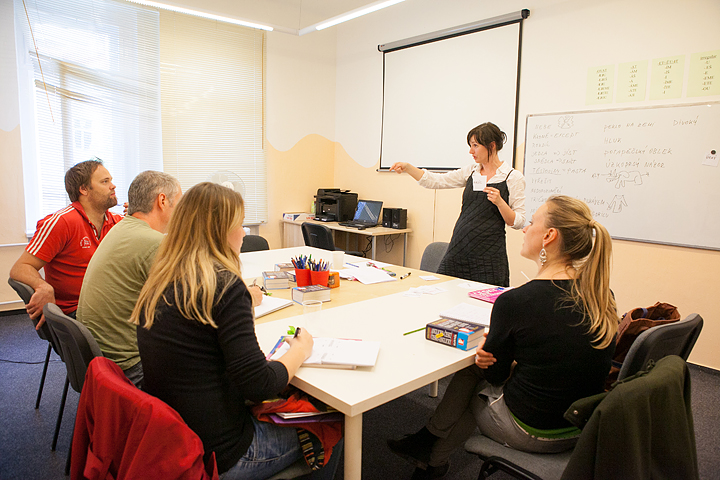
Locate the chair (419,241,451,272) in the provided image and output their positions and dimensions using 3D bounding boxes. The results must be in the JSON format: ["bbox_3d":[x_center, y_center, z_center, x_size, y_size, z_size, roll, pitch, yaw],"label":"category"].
[{"bbox_3d":[0.618,0.128,4.065,0.220,0.287,0.249,6,9,32],"label":"chair"}]

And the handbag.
[{"bbox_3d":[1.463,0.476,2.440,0.284,0.347,0.188,4,31,-16],"label":"handbag"}]

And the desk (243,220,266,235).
[{"bbox_3d":[-1.293,-0.158,5.774,0.283,0.266,0.283,0,0,-1],"label":"desk"}]

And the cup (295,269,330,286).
[{"bbox_3d":[-0.314,0.228,3.084,0.147,0.092,0.129,0,-1,41],"label":"cup"}]

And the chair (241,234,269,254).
[{"bbox_3d":[-0.947,0.035,4.301,0.163,0.214,0.188,-2,4,-33],"label":"chair"}]

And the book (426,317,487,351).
[{"bbox_3d":[0.472,0.477,2.464,0.184,0.055,0.182,-5,8,-42],"label":"book"}]

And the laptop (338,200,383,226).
[{"bbox_3d":[0.055,-0.351,5.999,0.364,0.265,0.433,-5,10,-43],"label":"laptop"}]

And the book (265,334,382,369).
[{"bbox_3d":[-0.135,0.543,2.321,0.351,0.037,0.216,5,10,4],"label":"book"}]

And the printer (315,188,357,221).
[{"bbox_3d":[-0.286,-0.478,6.337,0.468,0.403,0.467,9,12,44],"label":"printer"}]

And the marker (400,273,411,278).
[{"bbox_3d":[0.332,0.250,3.508,0.028,0.024,0.137,15,14,22],"label":"marker"}]
